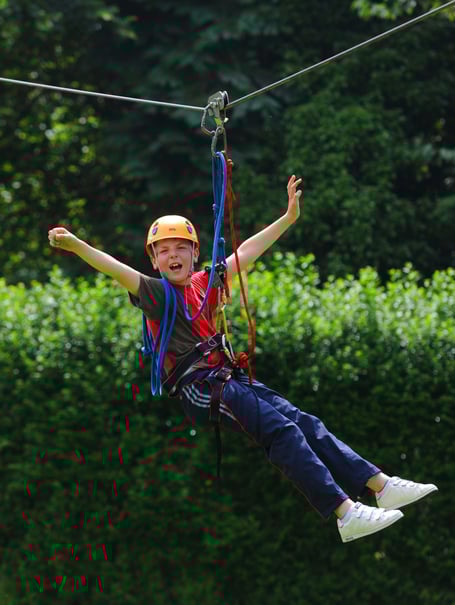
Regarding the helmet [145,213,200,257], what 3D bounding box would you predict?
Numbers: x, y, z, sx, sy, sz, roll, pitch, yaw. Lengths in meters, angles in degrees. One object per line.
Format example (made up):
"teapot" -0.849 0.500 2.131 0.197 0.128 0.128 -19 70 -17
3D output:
"helmet" -0.346 -0.462 6.255 0.287 0.167 0.277 -1 -3 -32
